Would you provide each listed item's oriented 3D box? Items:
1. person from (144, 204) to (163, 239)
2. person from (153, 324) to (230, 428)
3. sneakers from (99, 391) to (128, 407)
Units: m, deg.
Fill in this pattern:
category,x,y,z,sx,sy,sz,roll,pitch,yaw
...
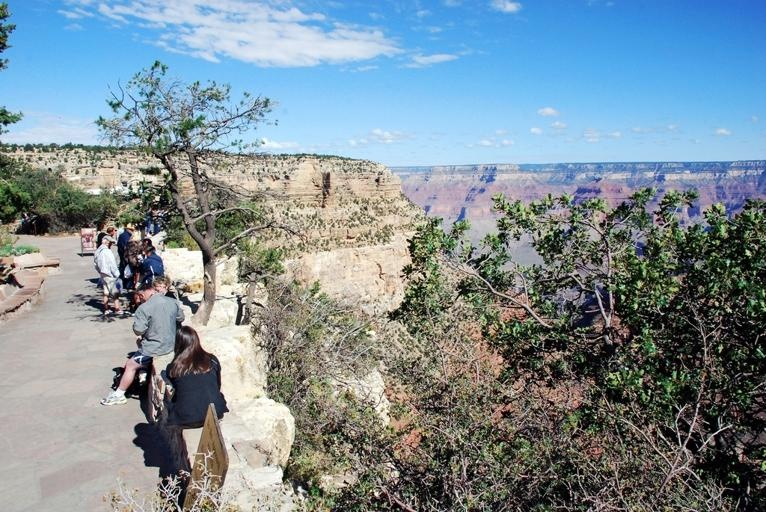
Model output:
category,x,y,z,sx,sy,sz,roll,pitch,yaw
person,-6.973,-1.055,15.433,0.281,0.358,0.840,13,-31,-20
person,-3.221,2.149,8.748,0.966,1.822,0.806,2,14,-22
sneakers,-5.451,2.845,10.197,0.568,0.277,0.217,2,-4,-15
